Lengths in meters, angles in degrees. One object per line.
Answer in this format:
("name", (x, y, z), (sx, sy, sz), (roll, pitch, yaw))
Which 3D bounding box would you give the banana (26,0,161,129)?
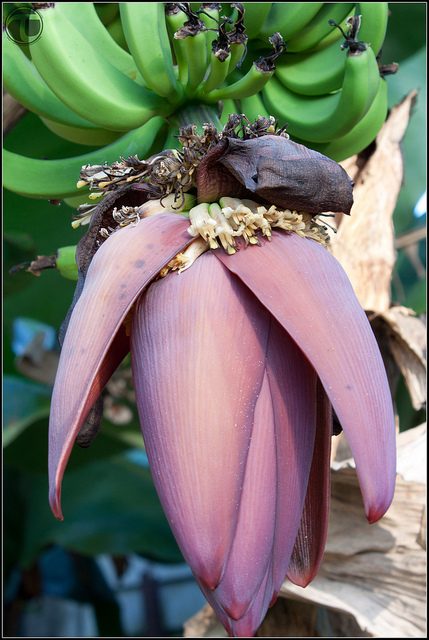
("banana", (-0.125, -0.248, 0.652), (0.153, 0.067, 0.166), (-2, 101, -23))

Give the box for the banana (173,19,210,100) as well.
("banana", (-0.021, -0.253, 0.589), (0.034, 0.081, 0.019), (-13, 68, -8))

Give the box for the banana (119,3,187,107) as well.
("banana", (-0.071, -0.268, 0.641), (0.052, 0.037, 0.129), (-9, 79, -28))
